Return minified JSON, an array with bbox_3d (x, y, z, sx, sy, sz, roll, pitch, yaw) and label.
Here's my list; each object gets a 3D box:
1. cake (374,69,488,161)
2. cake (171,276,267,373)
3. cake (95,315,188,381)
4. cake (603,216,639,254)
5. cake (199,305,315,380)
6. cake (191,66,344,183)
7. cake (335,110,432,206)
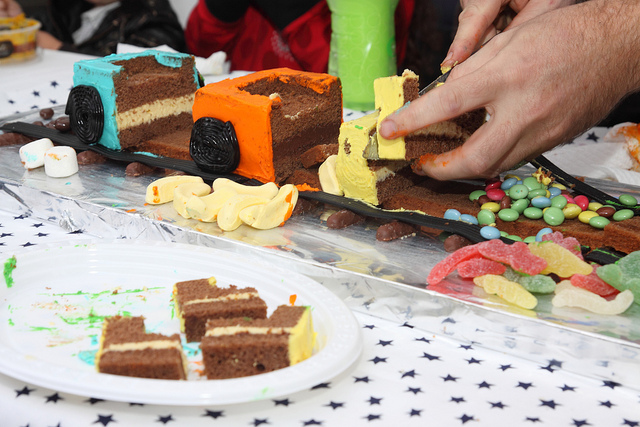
[{"bbox_3d":[0.567,-0.394,2.600,0.456,0.400,0.175,5,77,-13],"label":"cake"},{"bbox_3d":[-0.283,0.447,1.909,0.099,0.395,0.306,22,52,-31],"label":"cake"},{"bbox_3d":[-0.681,0.473,1.949,0.393,0.080,0.271,22,26,40],"label":"cake"},{"bbox_3d":[1.277,0.095,2.317,0.135,0.048,0.140,15,31,41],"label":"cake"},{"bbox_3d":[-0.219,0.452,1.922,0.347,0.129,0.242,-6,28,-1],"label":"cake"},{"bbox_3d":[-0.317,-0.499,3.054,0.542,0.443,0.712,12,25,22],"label":"cake"},{"bbox_3d":[0.259,-0.232,2.812,0.595,0.412,0.412,-14,12,-42],"label":"cake"}]
